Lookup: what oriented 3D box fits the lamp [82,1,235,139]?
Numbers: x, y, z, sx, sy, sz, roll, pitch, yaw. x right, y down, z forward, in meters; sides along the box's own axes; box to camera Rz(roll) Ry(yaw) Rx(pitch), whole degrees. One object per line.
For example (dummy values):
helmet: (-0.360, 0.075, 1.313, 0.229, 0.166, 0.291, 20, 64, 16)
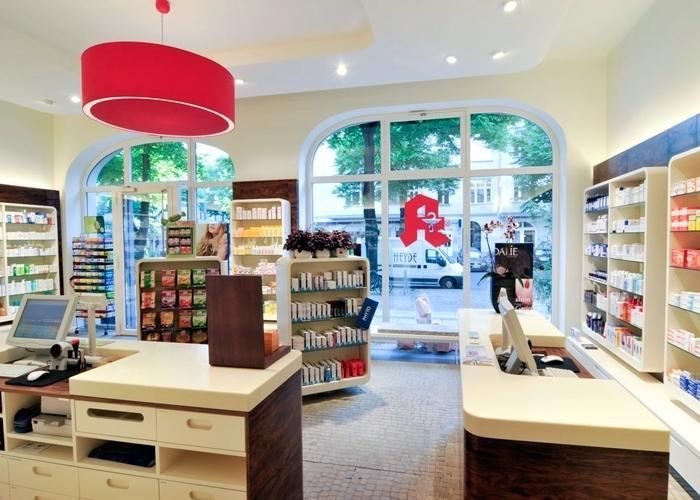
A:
lamp: (-1.536, -1.309, 4.184, 1.086, 0.918, 1.012, 1, 1, 20)
